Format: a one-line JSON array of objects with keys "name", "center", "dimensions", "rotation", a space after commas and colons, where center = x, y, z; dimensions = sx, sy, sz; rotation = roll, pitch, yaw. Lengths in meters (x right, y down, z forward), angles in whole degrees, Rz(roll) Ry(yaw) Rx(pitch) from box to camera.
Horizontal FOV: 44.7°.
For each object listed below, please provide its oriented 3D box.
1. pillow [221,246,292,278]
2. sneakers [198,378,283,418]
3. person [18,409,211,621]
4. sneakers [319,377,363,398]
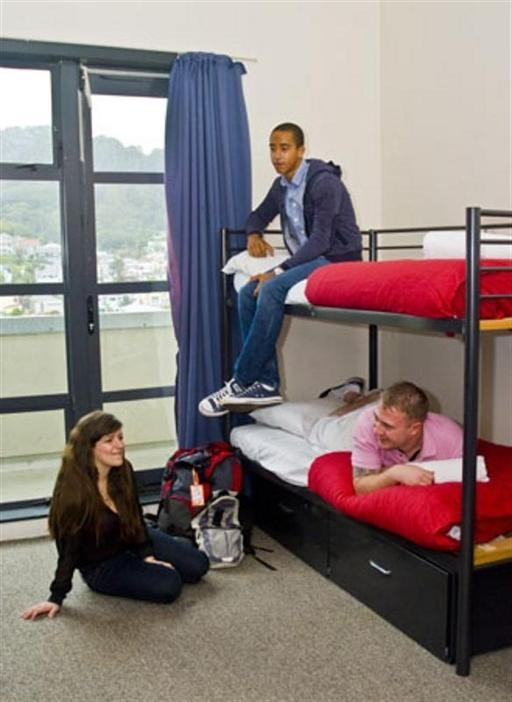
[{"name": "pillow", "center": [0.009, -0.414, 2.928], "dimensions": [0.192, 0.060, 0.179], "rotation": [-19, 23, -28]}, {"name": "sneakers", "center": [-0.082, 0.219, 2.839], "dimensions": [0.325, 0.133, 0.167], "rotation": [-3, -6, -33]}, {"name": "person", "center": [-0.479, 0.552, 2.223], "dimensions": [0.498, 0.639, 0.751], "rotation": [5, 11, 39]}, {"name": "sneakers", "center": [0.461, 0.193, 3.306], "dimensions": [0.185, 0.063, 0.117], "rotation": [-24, 21, 0]}]
